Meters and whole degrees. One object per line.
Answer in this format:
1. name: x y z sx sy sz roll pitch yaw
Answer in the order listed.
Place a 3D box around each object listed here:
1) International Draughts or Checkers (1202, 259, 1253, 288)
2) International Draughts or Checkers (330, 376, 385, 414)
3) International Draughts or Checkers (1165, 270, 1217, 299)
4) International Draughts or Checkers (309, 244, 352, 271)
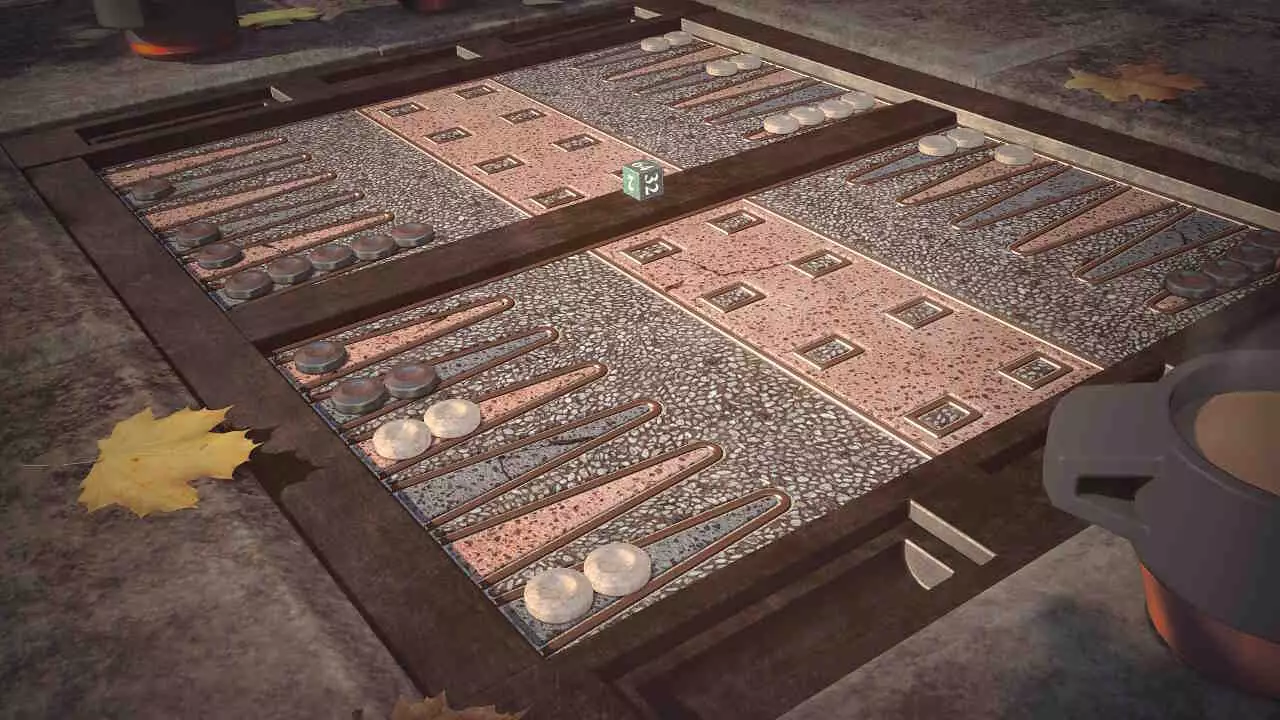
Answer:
1. International Draughts or Checkers: 1.955 -0.298 2.851 0.182 0.023 0.118 -9 31 -9
2. International Draughts or Checkers: -0.850 0.103 2.548 0.186 0.038 0.120 -5 27 -10
3. International Draughts or Checkers: 1.807 -0.253 2.811 0.170 0.024 0.117 -9 27 -15
4. International Draughts or Checkers: -1.096 -0.363 3.002 0.176 0.033 0.115 -4 24 -9
